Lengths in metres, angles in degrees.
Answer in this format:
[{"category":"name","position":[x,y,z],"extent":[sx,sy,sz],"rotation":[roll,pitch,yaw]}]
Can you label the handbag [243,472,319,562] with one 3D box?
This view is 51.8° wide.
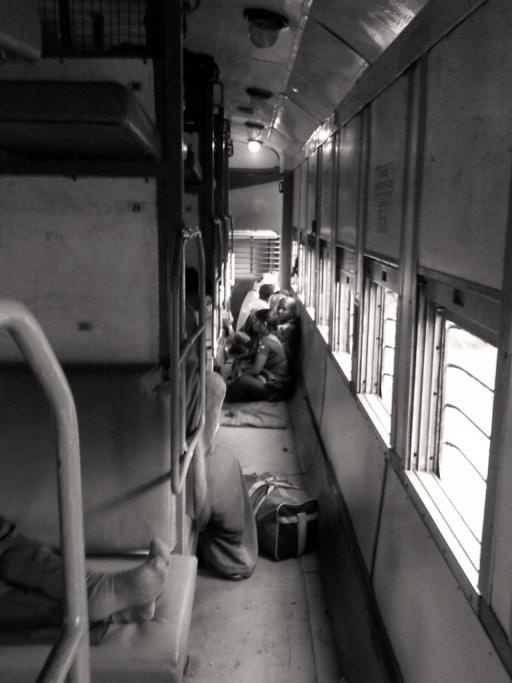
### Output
[{"category":"handbag","position":[0.176,1.566,4.856],"extent":[0.402,0.658,1.102],"rotation":[0,0,-21]}]
